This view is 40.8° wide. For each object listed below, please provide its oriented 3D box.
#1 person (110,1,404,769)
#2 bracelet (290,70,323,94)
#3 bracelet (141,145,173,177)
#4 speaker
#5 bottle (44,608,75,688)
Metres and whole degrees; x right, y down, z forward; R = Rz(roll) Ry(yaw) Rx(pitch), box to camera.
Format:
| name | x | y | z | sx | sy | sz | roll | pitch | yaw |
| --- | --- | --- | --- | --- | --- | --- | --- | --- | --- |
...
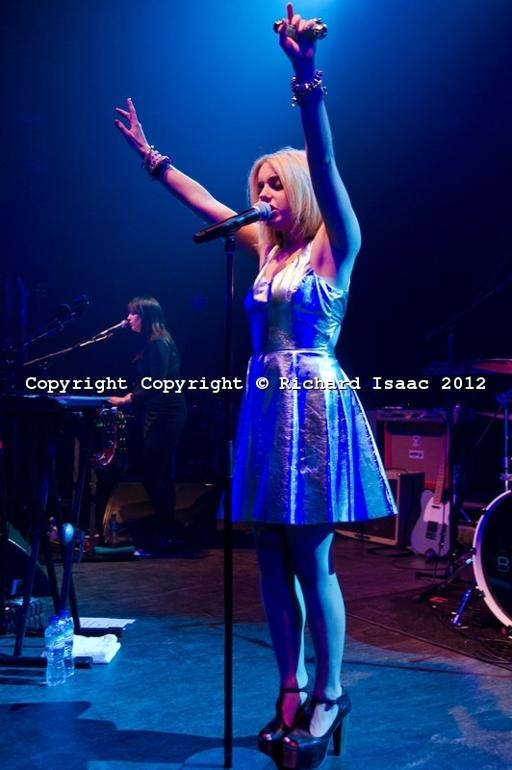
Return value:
| name | x | y | z | sx | sy | sz | roll | pitch | yaw |
| --- | --- | --- | --- | --- | --- | --- | --- | --- | --- |
| person | 0.106 | 0.088 | 1.617 | 0.457 | 1.654 | 0.729 | 2 | -4 | -24 |
| bracelet | 0.091 | -0.588 | 1.341 | 0.053 | 0.058 | 0.018 | 27 | -20 | 19 |
| bracelet | -0.271 | -0.621 | 1.944 | 0.038 | 0.066 | 0.100 | 20 | 28 | -48 |
| speaker | 0.885 | 0.874 | 5.197 | 0.268 | 0.647 | 0.678 | 1 | 0 | -39 |
| bottle | -0.686 | 0.930 | 2.409 | 0.077 | 0.238 | 0.167 | -5 | -7 | 0 |
